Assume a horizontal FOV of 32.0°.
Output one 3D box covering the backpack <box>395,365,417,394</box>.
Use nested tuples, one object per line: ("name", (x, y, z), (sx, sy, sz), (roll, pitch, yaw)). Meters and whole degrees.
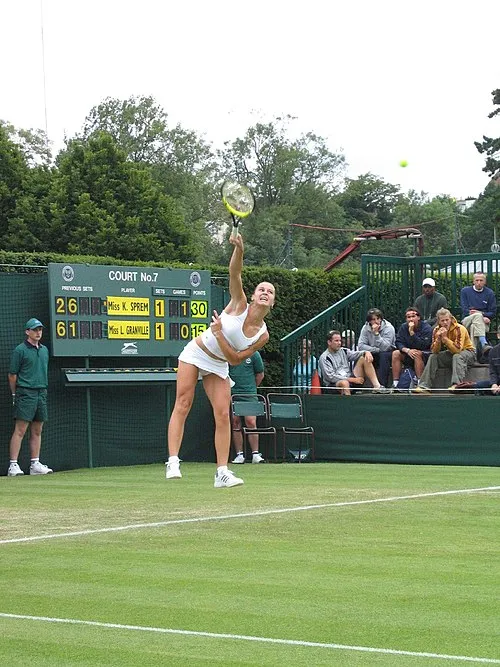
("backpack", (2.360, 0.681, 13.193), (0.222, 0.419, 0.130), (8, -18, 34))

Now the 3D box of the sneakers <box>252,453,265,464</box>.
("sneakers", (0.119, 1.825, 12.697), (0.081, 0.160, 0.245), (5, -16, -27))

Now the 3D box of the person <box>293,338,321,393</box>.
("person", (0.934, 0.521, 14.686), (0.413, 0.933, 0.863), (-1, -3, 2))

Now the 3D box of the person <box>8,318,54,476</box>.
("person", (-2.788, 0.807, 11.065), (0.535, 1.958, 0.591), (0, -3, -21))

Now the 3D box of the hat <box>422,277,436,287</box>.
("hat", (2.856, -0.815, 13.871), (0.163, 0.133, 0.152), (-1, -3, 4))

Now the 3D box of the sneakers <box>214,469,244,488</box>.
("sneakers", (-0.193, 1.144, 6.913), (0.115, 0.150, 0.314), (2, -10, -41))

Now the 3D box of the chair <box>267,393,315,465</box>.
("chair", (0.604, 1.355, 12.837), (0.603, 1.051, 0.647), (1, -8, -10))

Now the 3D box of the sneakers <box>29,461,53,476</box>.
("sneakers", (-2.665, 1.721, 11.129), (0.278, 0.179, 0.141), (2, -2, -1))

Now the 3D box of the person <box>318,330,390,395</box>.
("person", (1.548, 0.448, 13.469), (1.027, 0.965, 0.811), (2, -4, -44))

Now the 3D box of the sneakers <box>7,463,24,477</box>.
("sneakers", (-2.940, 1.706, 10.926), (0.095, 0.123, 0.260), (4, -12, -30))

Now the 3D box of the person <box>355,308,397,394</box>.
("person", (2.012, 0.257, 13.809), (0.545, 1.229, 0.821), (-1, 4, 22))

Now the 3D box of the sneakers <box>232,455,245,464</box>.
("sneakers", (-0.169, 1.817, 12.637), (0.082, 0.169, 0.226), (8, -7, -41))

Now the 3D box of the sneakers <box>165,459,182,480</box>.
("sneakers", (-0.607, 1.084, 6.969), (0.145, 0.174, 0.383), (0, -13, -8))

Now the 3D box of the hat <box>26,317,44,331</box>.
("hat", (-2.726, -0.130, 10.996), (0.132, 0.113, 0.188), (1, -11, -43))

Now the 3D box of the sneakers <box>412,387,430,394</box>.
("sneakers", (2.466, 0.801, 12.581), (0.262, 0.114, 0.347), (-2, -3, 11))
